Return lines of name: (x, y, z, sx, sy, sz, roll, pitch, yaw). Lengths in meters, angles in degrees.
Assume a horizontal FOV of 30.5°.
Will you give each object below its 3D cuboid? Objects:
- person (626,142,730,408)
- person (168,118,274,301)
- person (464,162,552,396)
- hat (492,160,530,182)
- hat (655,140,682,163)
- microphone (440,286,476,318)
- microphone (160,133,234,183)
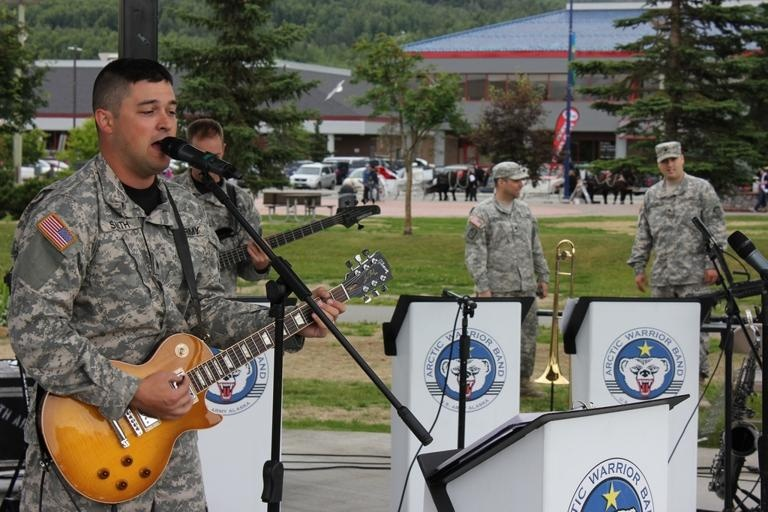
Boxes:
person: (3.480, 0.171, 16.951, 1.309, 3.027, 0.869, -2, -2, 40)
person: (-1.702, -0.406, 15.244, 0.969, 2.029, 0.302, -3, -5, -31)
person: (1.547, 0.329, 17.128, 1.085, 2.923, 0.548, -5, 7, -25)
hat: (1.510, -1.026, 17.114, 0.380, 0.225, 0.545, -2, 6, 1)
hat: (3.413, -1.235, 16.909, 0.277, 0.245, 0.393, -1, 6, 13)
microphone: (0.742, 0.490, 14.143, 0.166, 0.181, 0.510, 21, -2, -12)
microphone: (-1.679, -0.892, 12.746, 0.911, 0.255, 0.268, 23, 22, 15)
